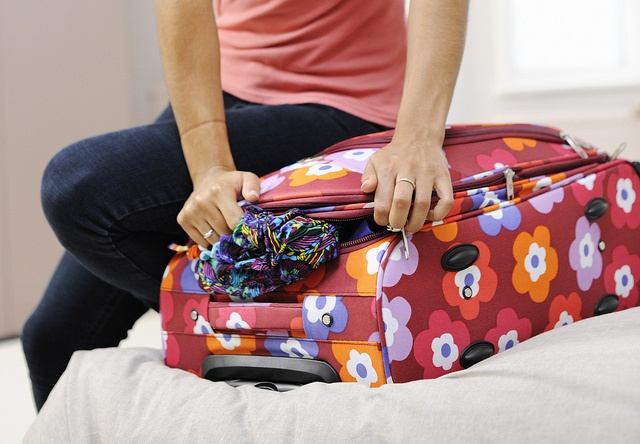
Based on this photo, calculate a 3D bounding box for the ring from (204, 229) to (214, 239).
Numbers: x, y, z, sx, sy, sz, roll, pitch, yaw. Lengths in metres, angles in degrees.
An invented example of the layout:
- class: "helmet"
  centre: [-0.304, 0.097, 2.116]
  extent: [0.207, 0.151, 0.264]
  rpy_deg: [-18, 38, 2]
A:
- class: "ring"
  centre: [-0.216, 0.024, 1.242]
  extent: [0.015, 0.004, 0.015]
  rpy_deg: [-39, 0, 0]
